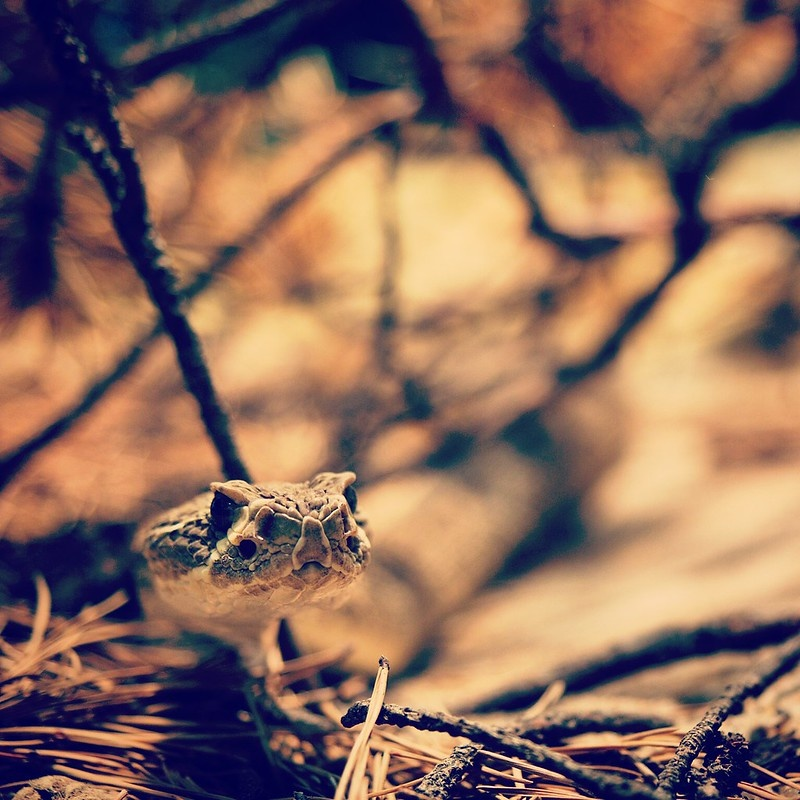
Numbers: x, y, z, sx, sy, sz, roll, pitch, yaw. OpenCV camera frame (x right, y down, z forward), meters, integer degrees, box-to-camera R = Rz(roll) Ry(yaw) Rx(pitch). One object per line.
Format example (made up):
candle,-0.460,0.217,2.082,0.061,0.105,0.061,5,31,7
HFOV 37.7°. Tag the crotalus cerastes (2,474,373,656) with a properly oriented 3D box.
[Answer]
crotalus cerastes,-0.177,0.177,1.385,0.227,0.261,0.090,16,54,-29
